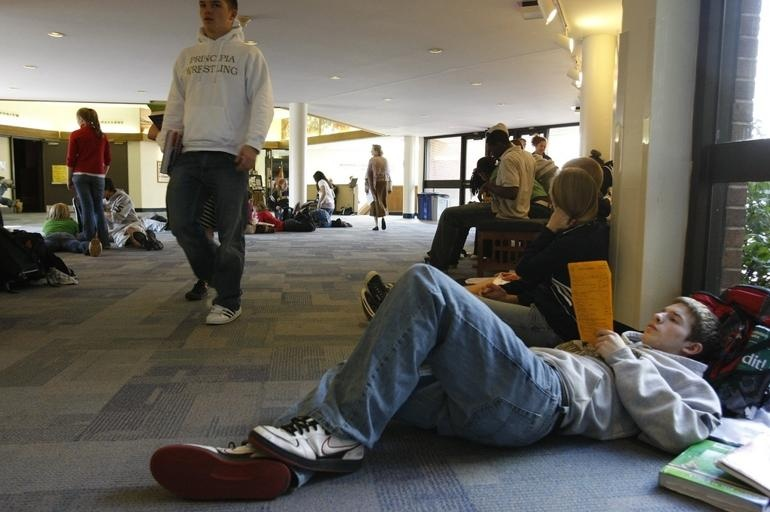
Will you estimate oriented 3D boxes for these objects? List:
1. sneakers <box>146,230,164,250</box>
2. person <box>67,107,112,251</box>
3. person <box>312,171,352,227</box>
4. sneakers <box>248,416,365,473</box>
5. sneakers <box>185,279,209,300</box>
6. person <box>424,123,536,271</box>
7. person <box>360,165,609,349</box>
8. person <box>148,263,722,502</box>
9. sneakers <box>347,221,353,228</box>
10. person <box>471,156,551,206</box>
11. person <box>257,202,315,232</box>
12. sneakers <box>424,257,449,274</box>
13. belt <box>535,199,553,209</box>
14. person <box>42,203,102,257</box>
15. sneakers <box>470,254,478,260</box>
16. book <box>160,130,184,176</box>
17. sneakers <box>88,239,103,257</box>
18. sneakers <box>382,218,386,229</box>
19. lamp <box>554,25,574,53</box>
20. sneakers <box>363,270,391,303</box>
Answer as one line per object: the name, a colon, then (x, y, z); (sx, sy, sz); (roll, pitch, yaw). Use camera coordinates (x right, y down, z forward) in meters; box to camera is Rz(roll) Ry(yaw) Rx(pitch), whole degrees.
sneakers: (-3.477, -0.233, 7.247); (0.188, 0.211, 0.497); (-2, 5, -19)
person: (-4.080, -1.067, 6.640); (0.511, 1.982, 1.351); (-3, 10, -30)
person: (-1.762, -1.649, 13.749); (1.419, 1.673, 0.814); (-3, -1, 5)
sneakers: (-0.258, 0.643, 1.664); (0.158, 0.179, 0.428); (-16, -34, 42)
sneakers: (-1.508, 0.273, 3.933); (0.102, 0.122, 0.277); (22, 0, -1)
person: (0.998, -0.609, 5.197); (1.104, 1.553, 0.699); (11, 10, 31)
person: (0.699, -0.237, 3.037); (0.645, 1.053, 1.536); (-18, 17, 7)
person: (0.268, 0.384, 2.010); (1.837, 0.708, 0.881); (0, 2, -9)
sneakers: (-0.980, -0.817, 12.686); (0.105, 0.074, 0.179); (-1, -4, 4)
person: (1.472, -1.057, 6.115); (0.516, 0.330, 0.898); (16, 36, 7)
person: (-2.302, -0.859, 10.931); (1.079, 0.441, 0.655); (5, 6, 1)
sneakers: (0.547, 0.097, 5.287); (0.226, 0.104, 0.353); (2, 2, -1)
belt: (1.611, -0.544, 4.963); (0.103, 0.075, 0.101); (-1, -1, 9)
person: (-4.452, -0.322, 6.733); (0.832, 0.441, 1.218); (-3, 27, -30)
sneakers: (1.177, 0.014, 6.543); (0.079, 0.076, 0.181); (0, -4, 1)
book: (-1.446, -0.691, 3.256); (0.079, 0.233, 0.229); (8, 3, -4)
sneakers: (-3.731, -0.111, 6.198); (0.124, 0.327, 0.130); (6, 18, -30)
sneakers: (-0.068, -0.784, 11.651); (0.154, 0.268, 0.064); (0, 6, -20)
lamp: (2.443, -2.958, 6.563); (0.329, 0.117, 0.245); (45, 19, -38)
sneakers: (-0.054, 0.126, 2.343); (0.080, 0.077, 0.199); (37, 9, -20)
